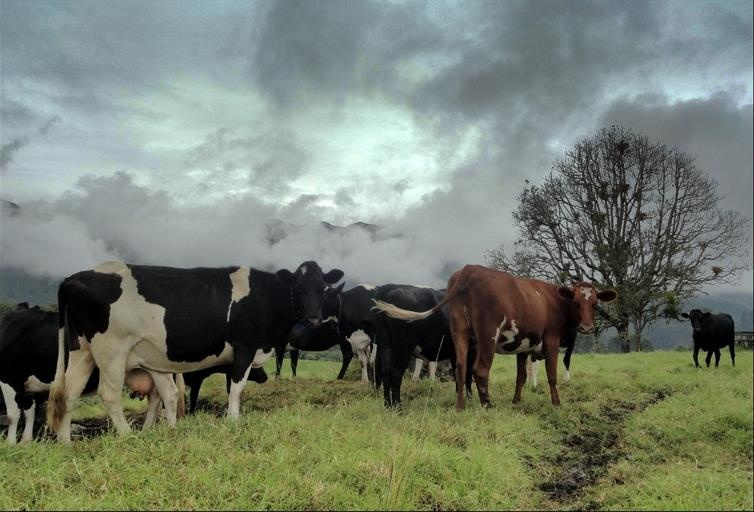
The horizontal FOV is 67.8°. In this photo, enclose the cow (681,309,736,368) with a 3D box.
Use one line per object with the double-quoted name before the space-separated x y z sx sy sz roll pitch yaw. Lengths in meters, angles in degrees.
"cow" 10.236 2.495 16.958 0.840 1.542 2.943 5 -5 6
